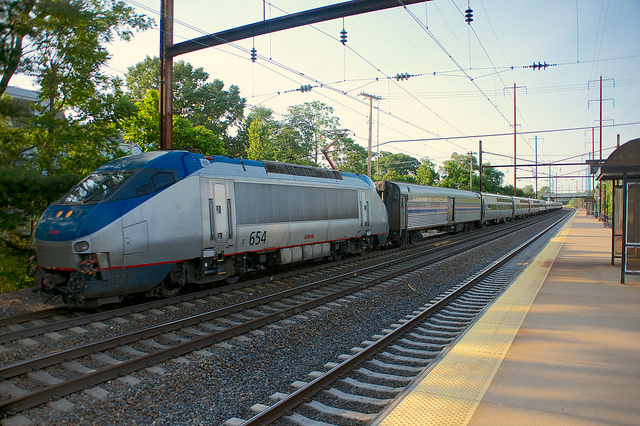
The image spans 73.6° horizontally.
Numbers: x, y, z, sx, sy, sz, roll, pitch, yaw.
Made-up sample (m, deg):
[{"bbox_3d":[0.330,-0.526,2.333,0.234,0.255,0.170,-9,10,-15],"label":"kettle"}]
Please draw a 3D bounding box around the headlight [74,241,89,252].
[{"bbox_3d":[-5.596,0.777,10.024,0.314,0.161,0.040,-1,1,-4],"label":"headlight"}]
